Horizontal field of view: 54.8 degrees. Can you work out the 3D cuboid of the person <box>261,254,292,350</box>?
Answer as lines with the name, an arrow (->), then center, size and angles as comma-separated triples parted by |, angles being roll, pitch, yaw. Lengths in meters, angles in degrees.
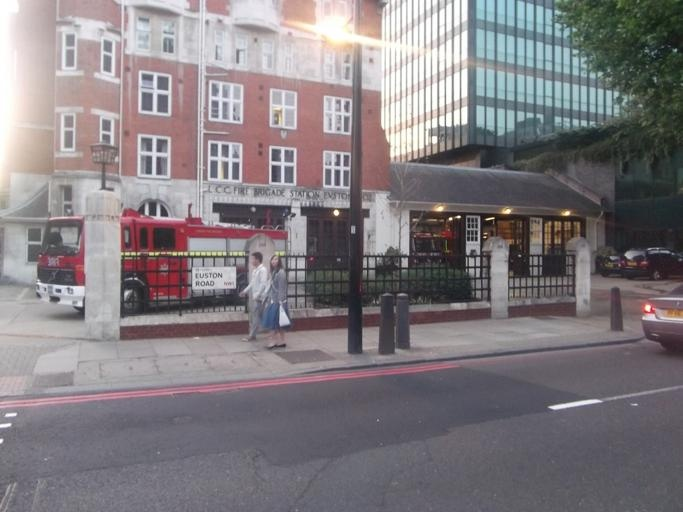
person -> -1.586, 1.079, 16.291 | 0.647, 2.271, 1.045 | -1, 1, -6

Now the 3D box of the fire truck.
fire truck -> -5.368, 0.056, 22.349 | 7.525, 3.511, 2.846 | 1, -1, -30

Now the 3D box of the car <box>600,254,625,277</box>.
car -> 15.174, 0.478, 37.032 | 0.846, 1.224, 2.674 | -1, 1, 17
